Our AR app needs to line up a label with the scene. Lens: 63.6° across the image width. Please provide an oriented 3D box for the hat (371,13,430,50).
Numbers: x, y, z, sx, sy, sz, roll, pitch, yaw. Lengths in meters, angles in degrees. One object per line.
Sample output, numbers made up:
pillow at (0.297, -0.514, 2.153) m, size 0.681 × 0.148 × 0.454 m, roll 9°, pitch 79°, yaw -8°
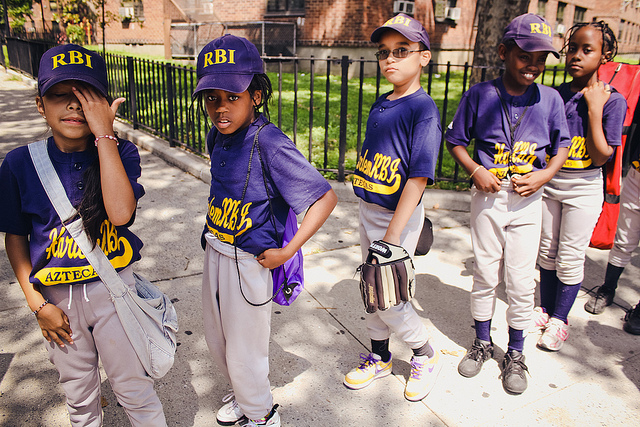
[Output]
hat at (0.567, -1.277, 3.565) m, size 0.339 × 0.225 × 0.446 m, roll 16°, pitch 11°, yaw 38°

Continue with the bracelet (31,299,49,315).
bracelet at (-1.623, 0.537, 2.970) m, size 0.015 × 0.020 × 0.103 m, roll 39°, pitch 75°, yaw 15°

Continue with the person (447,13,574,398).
person at (1.418, -0.089, 3.841) m, size 0.852 × 2.583 × 0.961 m, roll 2°, pitch 22°, yaw -1°

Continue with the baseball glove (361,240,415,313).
baseball glove at (0.442, 0.399, 3.497) m, size 0.372 × 0.443 × 0.406 m, roll -10°, pitch 7°, yaw -22°

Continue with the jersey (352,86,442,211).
jersey at (0.522, -0.478, 3.704) m, size 0.456 × 0.833 × 0.862 m, roll -5°, pitch 19°, yaw -30°

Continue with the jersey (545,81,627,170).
jersey at (2.138, -0.711, 4.138) m, size 0.308 × 0.551 × 0.577 m, roll -21°, pitch 32°, yaw -27°

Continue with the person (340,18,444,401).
person at (0.581, 0.009, 3.650) m, size 0.709 × 2.582 × 0.968 m, roll 4°, pitch 22°, yaw 3°

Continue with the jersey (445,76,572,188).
jersey at (1.471, -0.649, 3.977) m, size 1.025 × 0.819 × 0.462 m, roll 5°, pitch 20°, yaw 9°

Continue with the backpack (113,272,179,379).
backpack at (-1.019, 0.632, 3.248) m, size 0.181 × 0.369 × 0.393 m, roll -14°, pitch -5°, yaw 24°

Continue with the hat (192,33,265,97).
hat at (-0.579, -0.940, 3.173) m, size 0.413 × 0.313 × 0.559 m, roll 5°, pitch 27°, yaw 19°

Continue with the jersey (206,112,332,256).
jersey at (-0.450, -0.184, 3.381) m, size 1.110 × 0.860 × 0.529 m, roll 16°, pitch 22°, yaw 41°

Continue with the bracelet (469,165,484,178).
bracelet at (1.190, -0.317, 3.885) m, size 0.021 × 0.079 × 0.084 m, roll 38°, pitch 57°, yaw 14°

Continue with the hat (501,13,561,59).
hat at (1.581, -1.343, 3.803) m, size 0.338 × 0.256 × 0.486 m, roll -3°, pitch 27°, yaw -19°

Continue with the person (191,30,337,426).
person at (-0.440, 0.173, 3.363) m, size 0.852 × 2.489 × 0.685 m, roll 22°, pitch 30°, yaw 40°
